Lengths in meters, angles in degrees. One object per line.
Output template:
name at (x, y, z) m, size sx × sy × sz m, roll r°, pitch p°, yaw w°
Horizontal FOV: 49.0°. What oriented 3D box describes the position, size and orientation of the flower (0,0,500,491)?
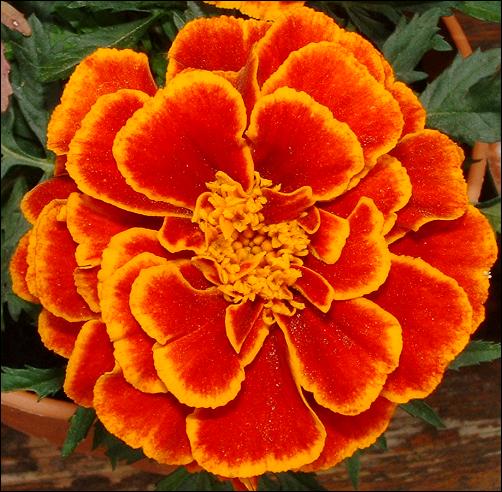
flower at (-0.011, 0.000, 0.657) m, size 0.624 × 0.212 × 0.469 m, roll -3°, pitch 93°, yaw -1°
